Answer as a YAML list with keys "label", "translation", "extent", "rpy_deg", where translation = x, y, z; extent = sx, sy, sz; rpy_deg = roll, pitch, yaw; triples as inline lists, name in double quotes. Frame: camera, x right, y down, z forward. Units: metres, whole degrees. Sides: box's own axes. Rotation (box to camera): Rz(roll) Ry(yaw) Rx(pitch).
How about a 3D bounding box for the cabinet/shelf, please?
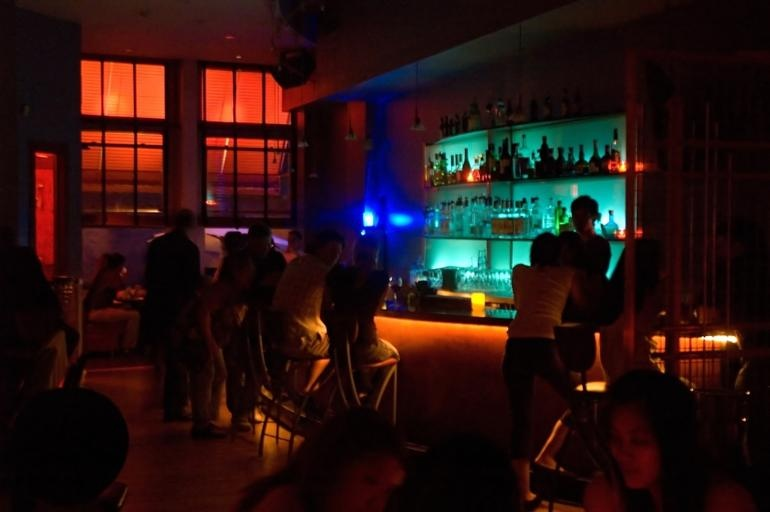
- label: "cabinet/shelf"
  translation: [1.272, -0.584, 6.525]
  extent: [2.045, 1.088, 0.520]
  rpy_deg: [-1, -2, 24]

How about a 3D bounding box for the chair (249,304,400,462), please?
- label: "chair"
  translation: [-0.465, 1.134, 6.182]
  extent: [1.291, 1.697, 1.177]
  rpy_deg: [13, -15, -42]

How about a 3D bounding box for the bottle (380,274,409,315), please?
- label: "bottle"
  translation: [0.134, 0.386, 6.533]
  extent: [0.293, 0.502, 0.314]
  rpy_deg: [1, -3, 0]
